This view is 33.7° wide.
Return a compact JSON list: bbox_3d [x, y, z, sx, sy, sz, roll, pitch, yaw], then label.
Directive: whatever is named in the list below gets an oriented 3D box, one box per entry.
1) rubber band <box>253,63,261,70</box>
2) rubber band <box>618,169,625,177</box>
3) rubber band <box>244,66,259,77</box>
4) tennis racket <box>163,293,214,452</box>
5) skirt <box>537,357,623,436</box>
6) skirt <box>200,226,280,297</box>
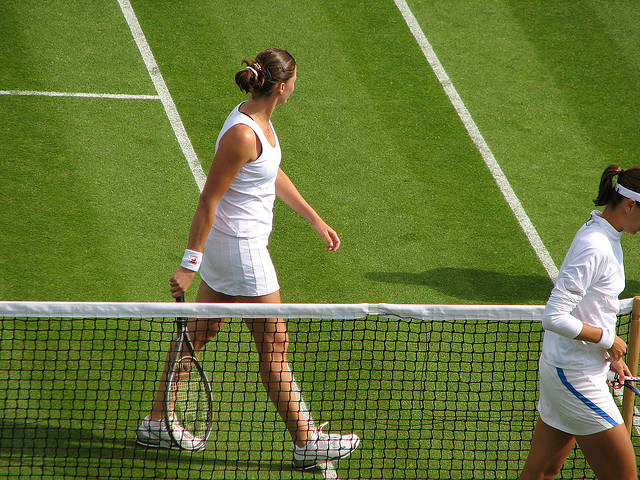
[{"bbox_3d":[-0.504,-1.447,8.808,0.084,0.051,0.017,12,17,15],"label":"rubber band"},{"bbox_3d":[2.367,-0.527,8.257,0.017,0.046,0.034,24,-11,31],"label":"rubber band"},{"bbox_3d":[-0.560,-1.414,8.833,0.086,0.072,0.153,-9,26,-30],"label":"rubber band"},{"bbox_3d":[-1.101,1.214,9.211,0.443,1.276,0.568,4,25,-5],"label":"tennis racket"},{"bbox_3d":[2.055,1.231,8.332,0.353,0.377,0.575,-17,22,-22],"label":"skirt"},{"bbox_3d":[-0.665,0.148,9.229,0.844,0.547,0.495,14,15,43],"label":"skirt"}]
